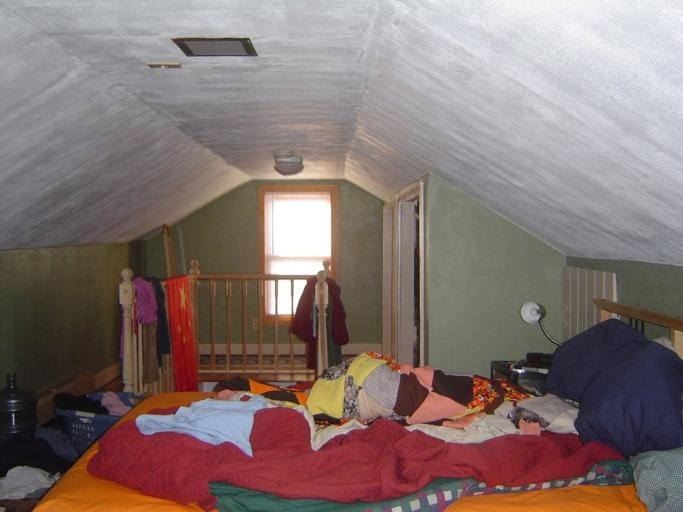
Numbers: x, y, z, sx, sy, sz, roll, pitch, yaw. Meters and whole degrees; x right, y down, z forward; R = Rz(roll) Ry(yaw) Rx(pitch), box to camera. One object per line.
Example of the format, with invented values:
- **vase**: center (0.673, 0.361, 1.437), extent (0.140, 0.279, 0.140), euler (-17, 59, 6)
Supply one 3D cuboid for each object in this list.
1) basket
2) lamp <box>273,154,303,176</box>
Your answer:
- **basket**: center (-1.470, 1.091, 3.610), extent (0.480, 0.209, 0.339), euler (1, 2, 24)
- **lamp**: center (-0.439, -0.757, 4.859), extent (0.226, 0.136, 0.351), euler (1, -3, -7)
